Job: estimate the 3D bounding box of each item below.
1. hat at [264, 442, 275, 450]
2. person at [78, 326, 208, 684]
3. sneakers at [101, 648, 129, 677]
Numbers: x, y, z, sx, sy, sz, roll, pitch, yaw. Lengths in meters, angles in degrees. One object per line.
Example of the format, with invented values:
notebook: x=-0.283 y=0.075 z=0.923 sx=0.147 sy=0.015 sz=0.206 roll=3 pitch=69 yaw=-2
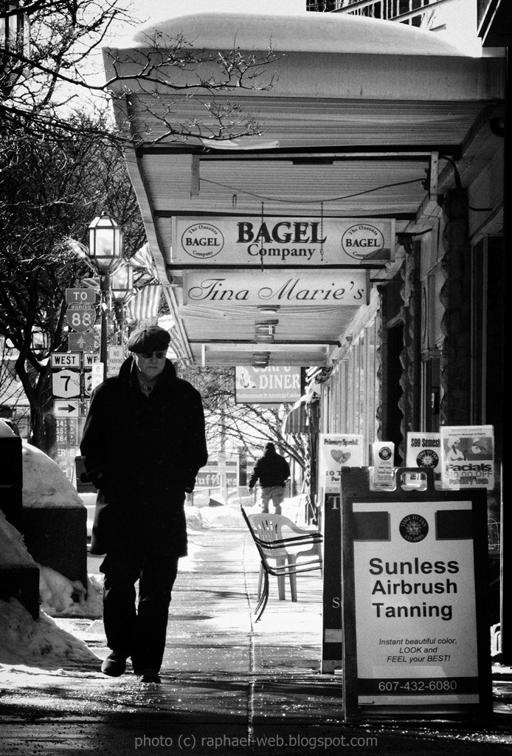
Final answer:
hat: x=0.178 y=0.887 z=21.084 sx=0.082 sy=0.102 sz=0.160 roll=-4 pitch=-11 yaw=4
person: x=-0.562 y=0.653 z=7.709 sx=0.599 sy=1.542 sz=0.311 roll=4 pitch=-6 yaw=-3
sneakers: x=-0.686 y=1.363 z=7.683 sx=0.122 sy=0.155 sz=0.081 roll=-4 pitch=-15 yaw=23
